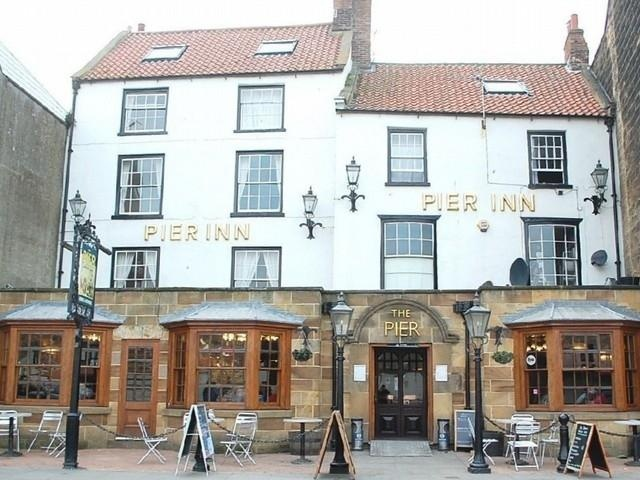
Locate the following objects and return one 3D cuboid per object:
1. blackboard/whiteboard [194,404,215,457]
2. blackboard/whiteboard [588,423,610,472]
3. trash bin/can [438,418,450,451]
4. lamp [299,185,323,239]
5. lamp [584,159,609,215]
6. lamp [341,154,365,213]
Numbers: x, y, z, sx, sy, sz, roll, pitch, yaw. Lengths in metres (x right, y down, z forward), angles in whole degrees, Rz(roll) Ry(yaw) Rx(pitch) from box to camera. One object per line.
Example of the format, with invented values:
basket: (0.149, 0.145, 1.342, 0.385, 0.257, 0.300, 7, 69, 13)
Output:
blackboard/whiteboard: (-3.073, 5.050, 18.782, 0.397, 1.387, 0.785, -3, -12, 7)
blackboard/whiteboard: (7.161, 5.413, 18.419, 0.515, 1.305, 0.841, -6, -13, 20)
trash bin/can: (3.863, 6.095, 22.345, 0.392, 0.942, 0.248, -3, -12, 10)
lamp: (-0.315, -0.982, 26.363, 0.814, 1.841, 0.833, -1, -12, -1)
lamp: (9.952, -1.942, 25.659, 0.929, 2.010, 0.742, -3, -12, 9)
lamp: (1.207, -1.971, 25.680, 0.770, 1.926, 0.660, -2, -12, 1)
